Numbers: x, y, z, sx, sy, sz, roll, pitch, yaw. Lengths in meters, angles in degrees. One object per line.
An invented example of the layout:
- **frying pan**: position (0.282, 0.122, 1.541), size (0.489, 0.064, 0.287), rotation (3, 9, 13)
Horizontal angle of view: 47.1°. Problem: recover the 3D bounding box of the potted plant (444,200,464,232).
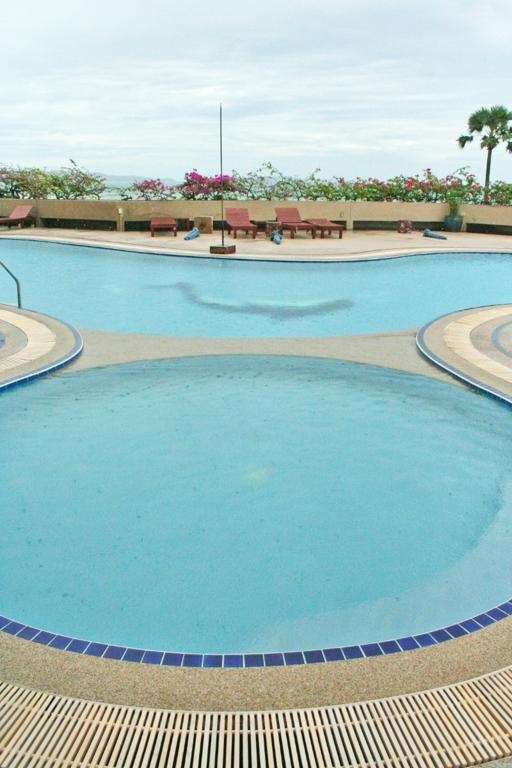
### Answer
- **potted plant**: position (6.167, -5.230, 18.243), size (0.573, 0.943, 0.346), rotation (4, 17, 17)
